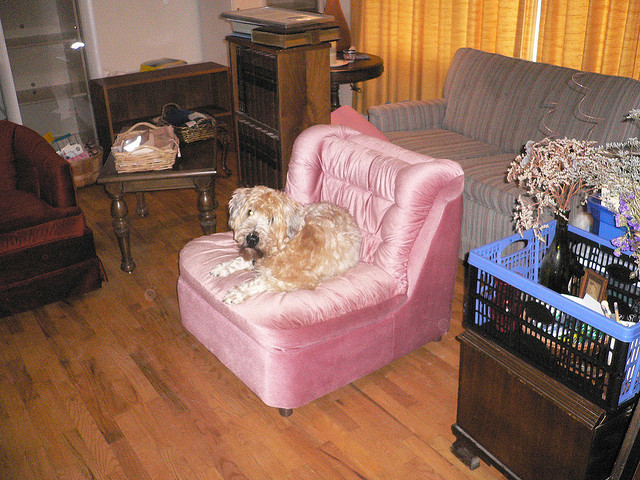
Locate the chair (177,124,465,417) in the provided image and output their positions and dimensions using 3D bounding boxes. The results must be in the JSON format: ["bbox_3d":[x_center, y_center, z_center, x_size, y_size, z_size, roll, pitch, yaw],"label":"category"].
[{"bbox_3d":[-0.060,0.084,3.553,1.526,1.408,1.434,-14,27,-31],"label":"chair"}]

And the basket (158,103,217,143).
[{"bbox_3d":[-1.332,-1.200,5.168,0.421,0.300,0.703,-17,39,-28],"label":"basket"}]

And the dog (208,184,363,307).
[{"bbox_3d":[-0.162,-0.038,3.271,0.913,0.626,0.653,-10,27,-28],"label":"dog"}]

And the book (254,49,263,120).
[{"bbox_3d":[-0.527,-1.321,4.425,0.102,0.416,0.361,-2,0,-7],"label":"book"}]

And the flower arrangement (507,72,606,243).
[{"bbox_3d":[1.117,-0.205,2.420,0.258,0.577,0.313,-12,-25,38],"label":"flower arrangement"}]

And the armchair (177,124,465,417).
[{"bbox_3d":[0.002,0.171,3.745,1.762,1.688,1.679,-20,40,-29],"label":"armchair"}]

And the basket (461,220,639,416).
[{"bbox_3d":[1.199,0.283,2.503,0.696,0.518,0.809,-26,37,-36],"label":"basket"}]

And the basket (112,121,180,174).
[{"bbox_3d":[-1.432,-0.702,4.233,0.502,0.250,0.418,0,43,-5],"label":"basket"}]

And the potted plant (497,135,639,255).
[{"bbox_3d":[1.291,-0.219,2.670,0.587,0.425,0.526,-27,33,-16],"label":"potted plant"}]
